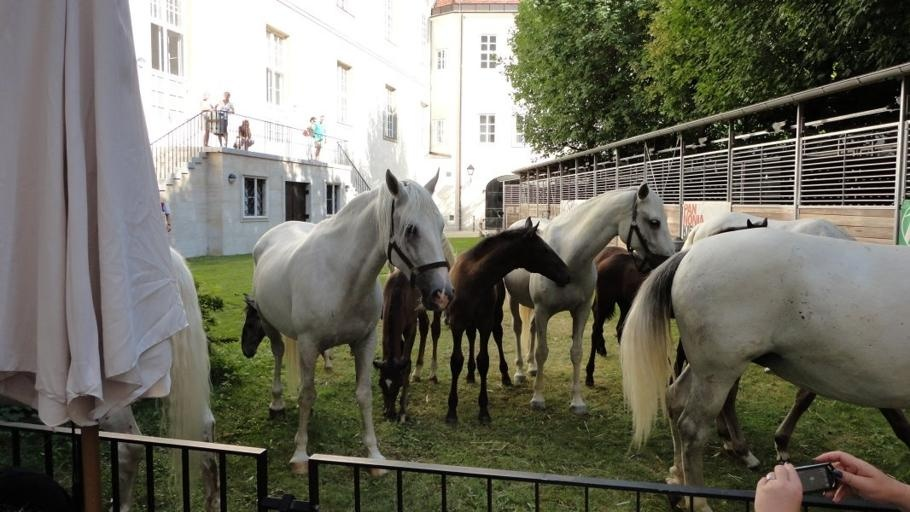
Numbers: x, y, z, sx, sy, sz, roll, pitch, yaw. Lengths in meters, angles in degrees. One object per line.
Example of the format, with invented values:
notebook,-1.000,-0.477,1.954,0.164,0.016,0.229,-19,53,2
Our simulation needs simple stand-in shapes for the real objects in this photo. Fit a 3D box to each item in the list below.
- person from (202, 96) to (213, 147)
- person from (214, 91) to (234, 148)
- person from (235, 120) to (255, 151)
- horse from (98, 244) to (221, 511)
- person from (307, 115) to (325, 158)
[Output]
person,-7.702,-4.157,21.542,0.295,1.662,0.878,-1,5,-20
person,-7.342,-4.346,21.980,0.543,1.792,1.027,-1,5,-19
person,-7.015,-4.052,23.033,0.307,1.037,0.964,2,4,6
horse,-2.888,1.298,6.669,0.692,2.882,2.218,-3,-31,-16
person,-5.474,-4.649,27.241,0.532,1.758,1.333,1,4,4
